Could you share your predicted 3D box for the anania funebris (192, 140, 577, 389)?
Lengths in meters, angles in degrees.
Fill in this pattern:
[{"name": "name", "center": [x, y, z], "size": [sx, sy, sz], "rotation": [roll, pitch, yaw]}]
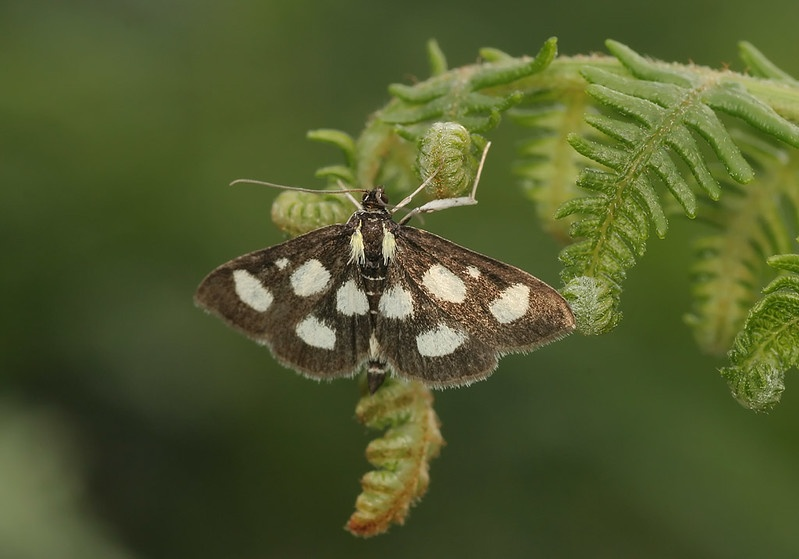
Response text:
[{"name": "anania funebris", "center": [-0.095, 0.064, 5.185], "size": [1.959, 1.084, 0.371], "rotation": [-2, -16, 7]}]
